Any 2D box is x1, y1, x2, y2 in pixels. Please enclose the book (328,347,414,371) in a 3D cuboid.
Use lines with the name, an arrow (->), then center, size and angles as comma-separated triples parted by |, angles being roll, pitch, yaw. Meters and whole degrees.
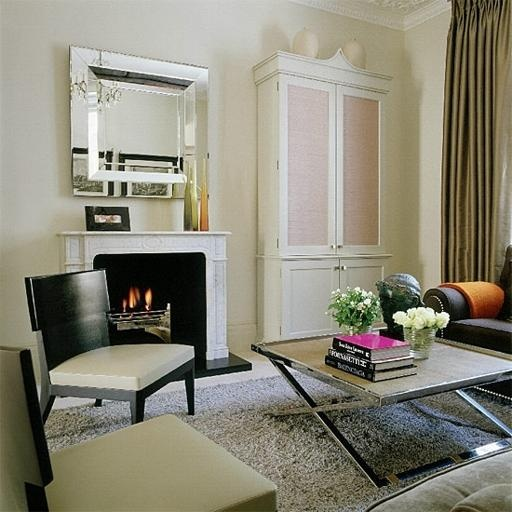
book -> 0.427, 0.408, 1.787 | 0.145, 0.034, 0.147 | -2, 11, -22

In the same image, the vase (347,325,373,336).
vase -> 0.520, 0.358, 2.229 | 0.078, 0.074, 0.075 | 0, 2, -27

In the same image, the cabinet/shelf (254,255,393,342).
cabinet/shelf -> 0.408, 0.307, 3.270 | 0.727, 0.603, 0.271 | 0, -2, -24

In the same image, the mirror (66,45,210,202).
mirror -> -0.919, -0.970, 3.352 | 1.254, 1.204, 0.044 | -1, 3, -29

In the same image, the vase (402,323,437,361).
vase -> 0.742, 0.380, 2.050 | 0.137, 0.146, 0.139 | 0, 2, 32

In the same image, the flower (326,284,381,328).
flower -> 0.477, 0.267, 2.226 | 0.174, 0.177, 0.201 | 5, -1, 35

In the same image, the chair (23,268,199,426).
chair -> -0.650, 0.412, 2.082 | 0.592, 0.668, 0.608 | 0, 3, 4

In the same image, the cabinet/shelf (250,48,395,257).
cabinet/shelf -> 0.591, -0.864, 3.858 | 1.137, 1.698, 0.338 | -1, 2, -23

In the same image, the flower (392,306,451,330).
flower -> 0.724, 0.273, 2.007 | 0.144, 0.079, 0.140 | 1, 0, -41
